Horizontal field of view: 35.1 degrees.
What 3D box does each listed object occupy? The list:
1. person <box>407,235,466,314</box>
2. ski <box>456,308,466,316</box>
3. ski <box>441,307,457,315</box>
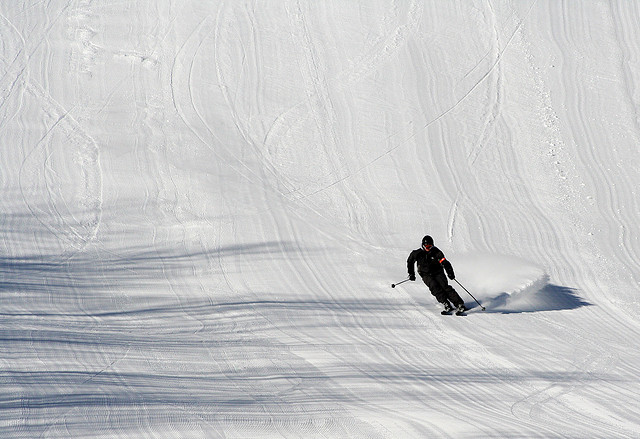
[{"bbox_3d":[2.886,1.406,25.416,0.638,1.749,1.447,-14,22,-41],"label":"person"},{"bbox_3d":[3.487,2.332,25.236,0.201,0.121,0.085,-1,17,-9],"label":"ski"},{"bbox_3d":[3.211,2.299,25.323,0.303,0.257,0.138,0,-4,-19],"label":"ski"}]
